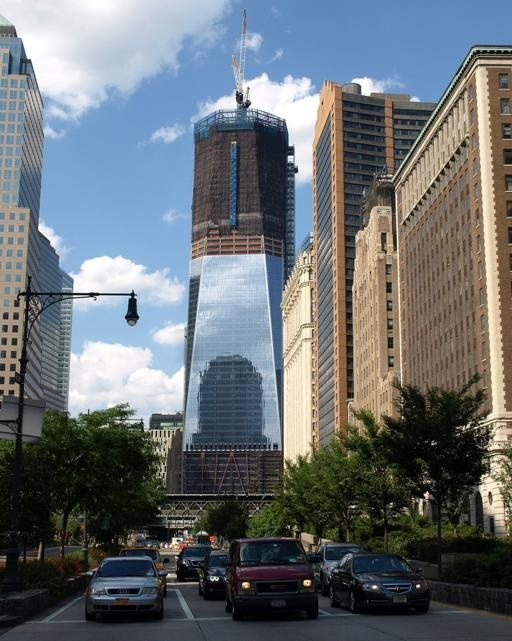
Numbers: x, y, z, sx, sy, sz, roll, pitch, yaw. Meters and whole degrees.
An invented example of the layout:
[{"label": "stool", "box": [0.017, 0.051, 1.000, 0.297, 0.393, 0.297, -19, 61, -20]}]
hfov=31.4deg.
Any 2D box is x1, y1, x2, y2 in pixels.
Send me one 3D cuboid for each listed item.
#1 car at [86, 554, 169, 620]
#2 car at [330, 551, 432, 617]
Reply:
[{"label": "car", "box": [-3.033, 6.240, 20.983, 1.731, 1.326, 1.748, 3, -17, -9]}, {"label": "car", "box": [2.818, 6.245, 21.842, 1.119, 0.856, 2.563, 3, -22, -7]}]
